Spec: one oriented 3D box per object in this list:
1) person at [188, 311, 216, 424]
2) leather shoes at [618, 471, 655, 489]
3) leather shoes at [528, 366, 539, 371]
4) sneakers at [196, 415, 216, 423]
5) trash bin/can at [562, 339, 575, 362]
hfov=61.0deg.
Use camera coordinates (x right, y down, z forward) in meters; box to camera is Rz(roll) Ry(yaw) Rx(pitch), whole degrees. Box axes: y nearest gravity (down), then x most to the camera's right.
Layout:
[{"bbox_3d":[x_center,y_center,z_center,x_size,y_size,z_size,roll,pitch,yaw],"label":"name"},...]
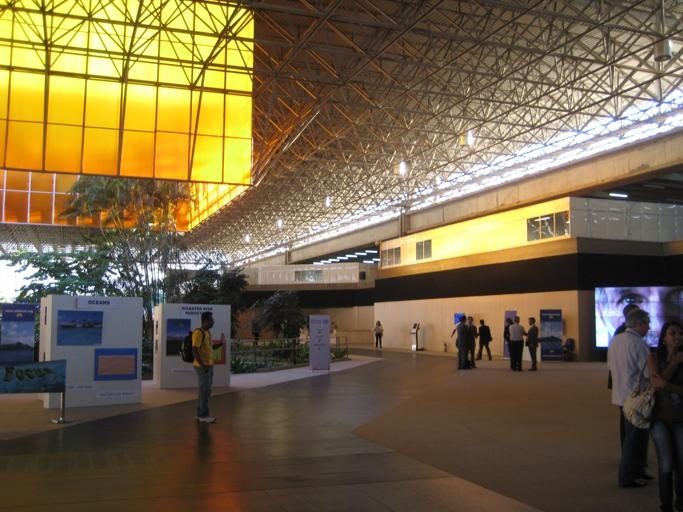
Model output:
[{"bbox_3d":[-2.798,2.224,11.736,0.426,2.202,0.547,-1,-5,-17],"label":"person"},{"bbox_3d":[4.036,3.077,7.962,0.425,0.203,0.141,-10,9,-26],"label":"leather shoes"},{"bbox_3d":[6.809,3.976,20.550,0.338,0.268,0.140,2,-7,19],"label":"leather shoes"},{"bbox_3d":[-2.698,3.269,11.641,0.412,0.207,0.152,-3,-6,11],"label":"sneakers"},{"bbox_3d":[9.502,3.902,24.172,0.532,0.859,0.812,1,-5,-1],"label":"trash bin/can"}]
